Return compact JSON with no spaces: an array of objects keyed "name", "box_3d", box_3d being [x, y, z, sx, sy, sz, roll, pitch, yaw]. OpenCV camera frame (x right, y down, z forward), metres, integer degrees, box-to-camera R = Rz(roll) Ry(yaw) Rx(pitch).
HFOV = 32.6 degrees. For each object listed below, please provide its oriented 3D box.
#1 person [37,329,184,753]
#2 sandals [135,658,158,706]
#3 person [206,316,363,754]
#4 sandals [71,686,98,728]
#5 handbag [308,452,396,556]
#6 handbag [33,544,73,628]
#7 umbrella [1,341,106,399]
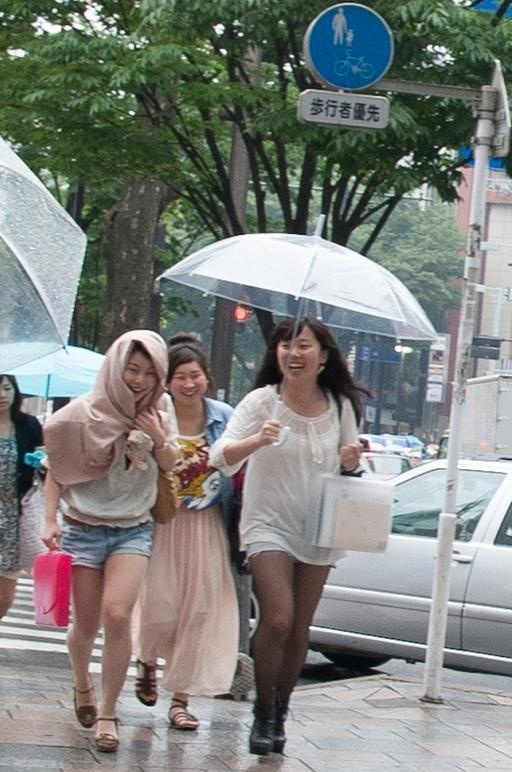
[{"name":"person","box_3d":[-0.572,0.543,3.254,0.440,1.483,0.520,6,-12,8]},{"name":"sandals","box_3d":[-0.467,1.295,3.755,0.081,0.093,0.243,3,1,0]},{"name":"person","box_3d":[0.078,0.535,3.287,0.447,1.641,0.661,1,-14,30]},{"name":"sandals","box_3d":[-0.655,1.252,3.368,0.082,0.182,0.050,-7,24,-1]},{"name":"handbag","box_3d":[0.363,0.481,3.294,0.343,0.267,0.126,13,-13,-28]},{"name":"handbag","box_3d":[-0.725,0.728,3.133,0.142,0.272,0.255,9,-12,-9]},{"name":"umbrella","box_3d":[-2.696,-0.146,11.285,1.501,0.455,1.399,-3,-1,14]}]
